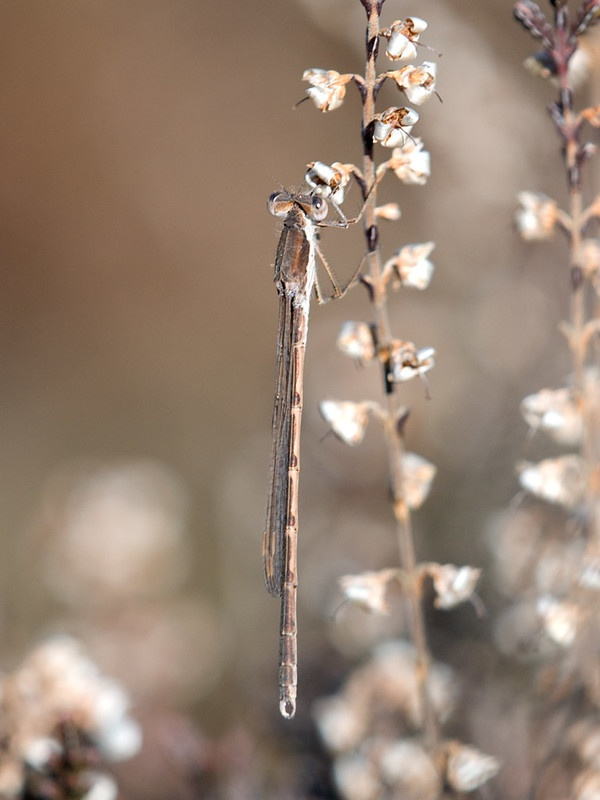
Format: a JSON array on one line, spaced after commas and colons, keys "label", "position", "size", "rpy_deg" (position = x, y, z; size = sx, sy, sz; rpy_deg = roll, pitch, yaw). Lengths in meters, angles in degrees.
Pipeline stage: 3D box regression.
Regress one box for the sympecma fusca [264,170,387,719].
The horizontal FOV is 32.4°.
[{"label": "sympecma fusca", "position": [-0.022, 0.049, 1.090], "size": [0.150, 0.515, 0.132], "rpy_deg": [5, 3, 41]}]
